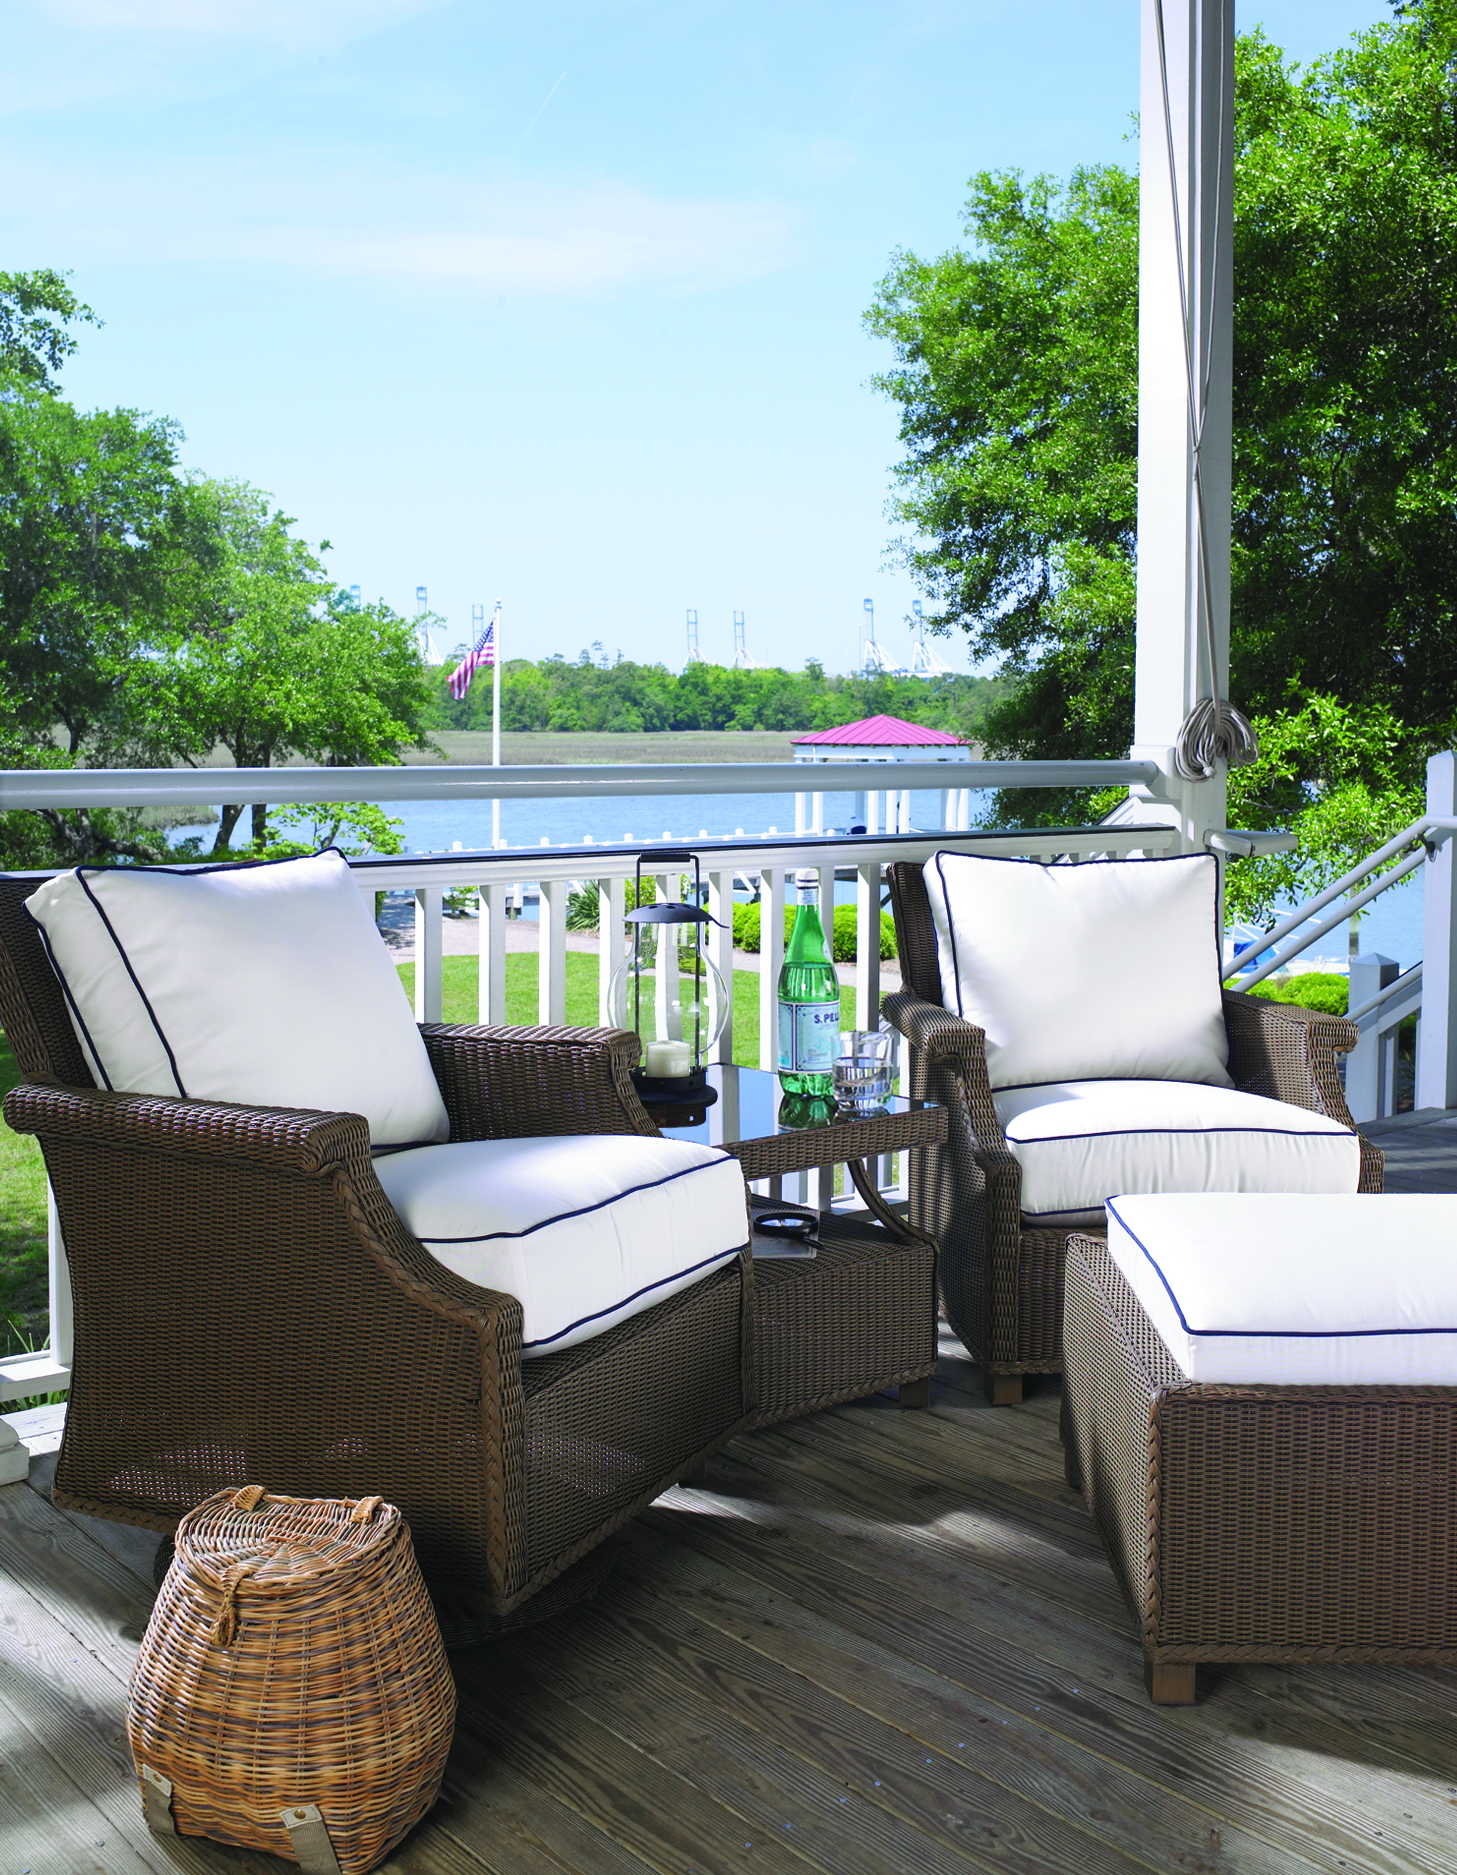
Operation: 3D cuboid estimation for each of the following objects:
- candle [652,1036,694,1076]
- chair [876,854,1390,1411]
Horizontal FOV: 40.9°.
[{"bbox_3d":[-0.077,0.171,2.750,0.052,0.031,0.049,1,1,-14],"label":"candle"},{"bbox_3d":[0.634,0.243,3.157,0.743,0.786,0.832,-1,-2,-10],"label":"chair"}]
